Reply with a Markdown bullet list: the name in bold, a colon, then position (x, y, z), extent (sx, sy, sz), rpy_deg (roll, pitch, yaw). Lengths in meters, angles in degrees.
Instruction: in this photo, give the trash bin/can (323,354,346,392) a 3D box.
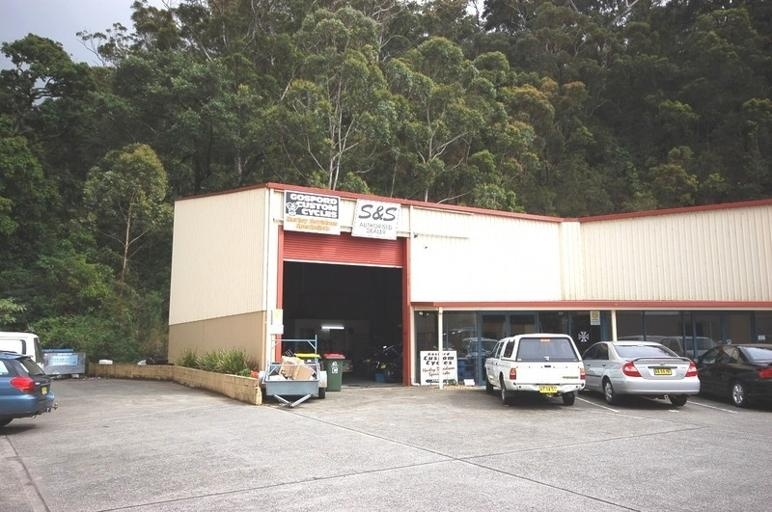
- **trash bin/can**: position (-2.083, 4.703, 24.063), extent (0.686, 1.463, 1.708), rpy_deg (0, -8, -6)
